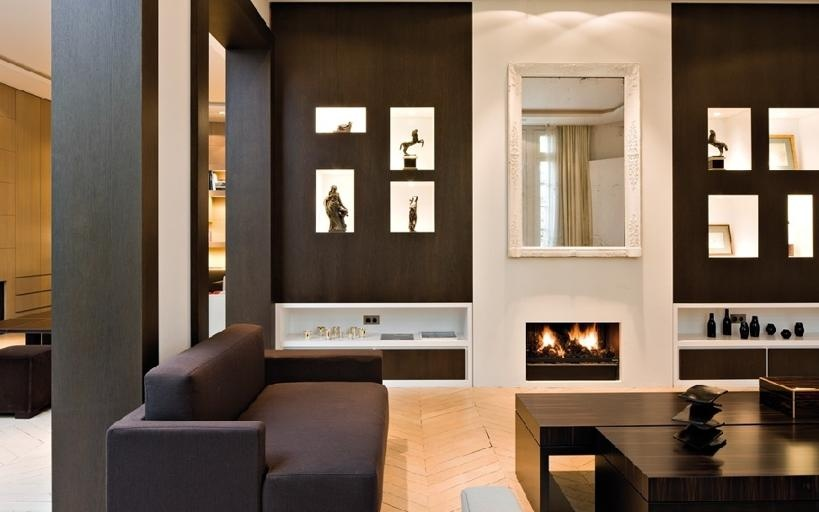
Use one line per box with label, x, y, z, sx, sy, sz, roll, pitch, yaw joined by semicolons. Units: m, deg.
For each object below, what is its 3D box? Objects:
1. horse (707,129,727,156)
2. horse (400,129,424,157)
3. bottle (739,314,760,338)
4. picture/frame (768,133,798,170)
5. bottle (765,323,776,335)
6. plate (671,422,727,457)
horse;3.430;-1.254;7.959;0.240;0.299;0.200;-1;-3;13
horse;0.019;-1.230;7.990;0.282;0.294;0.273;0;-2;-1
bottle;3.815;0.802;7.998;0.296;0.273;0.179;0;-3;-3
picture/frame;4.189;-1.138;8.011;0.457;0.481;0.036;1;-10;1
bottle;4.055;0.820;8.106;0.123;0.149;0.120;-1;-3;3
plate;2.319;1.415;5.648;0.298;0.108;0.251;-11;9;-42
